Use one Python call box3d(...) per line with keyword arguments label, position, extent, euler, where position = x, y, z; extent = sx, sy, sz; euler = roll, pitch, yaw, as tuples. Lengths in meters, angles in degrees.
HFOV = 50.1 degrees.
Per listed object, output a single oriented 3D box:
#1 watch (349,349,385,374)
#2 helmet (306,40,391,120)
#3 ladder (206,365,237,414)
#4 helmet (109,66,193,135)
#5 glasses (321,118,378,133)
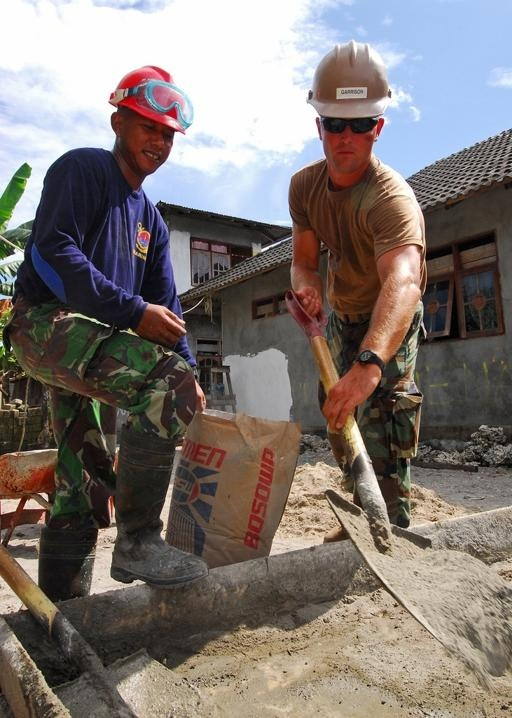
box3d(label="watch", position=(0.379, 0.021, 1.837), extent=(0.109, 0.062, 0.097), euler=(10, -15, -1))
box3d(label="helmet", position=(0.379, -1.153, 2.220), extent=(0.366, 0.253, 0.452), euler=(6, 34, 11))
box3d(label="ladder", position=(-0.787, 0.786, 12.225), extent=(0.776, 1.168, 0.698), euler=(-3, -10, 3))
box3d(label="helmet", position=(-0.363, -0.936, 1.958), extent=(0.293, 0.192, 0.365), euler=(-5, 21, -40))
box3d(label="glasses", position=(0.359, -0.914, 2.146), extent=(0.208, 0.059, 0.051), euler=(4, 4, 8))
